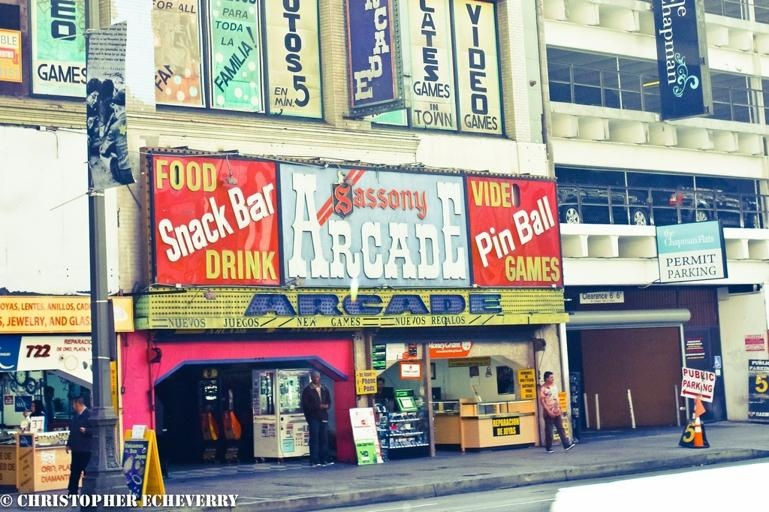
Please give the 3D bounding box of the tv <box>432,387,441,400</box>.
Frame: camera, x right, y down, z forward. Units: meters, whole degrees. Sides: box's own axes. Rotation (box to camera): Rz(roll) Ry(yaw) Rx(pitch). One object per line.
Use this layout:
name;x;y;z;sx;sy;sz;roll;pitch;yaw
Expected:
tv;1.730;4.384;37.586;0.353;0.366;0.089;3;-15;-11

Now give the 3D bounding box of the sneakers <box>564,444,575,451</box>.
sneakers;5.303;5.476;33.861;0.165;0.189;0.476;-3;-16;-19

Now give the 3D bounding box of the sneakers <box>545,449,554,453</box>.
sneakers;4.725;5.523;33.461;0.236;0.155;0.081;-3;2;-20

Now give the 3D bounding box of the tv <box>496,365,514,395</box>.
tv;3.793;3.854;36.705;0.162;0.886;0.663;1;-5;-40

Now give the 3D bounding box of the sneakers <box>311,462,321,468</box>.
sneakers;-1.814;5.685;32.135;0.245;0.102;0.083;-3;-3;12

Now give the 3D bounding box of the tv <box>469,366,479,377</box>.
tv;2.862;3.648;37.385;0.345;0.314;0.080;6;1;32

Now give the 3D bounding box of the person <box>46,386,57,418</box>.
person;-9.765;4.269;34.692;0.304;1.012;0.681;-1;-4;-15

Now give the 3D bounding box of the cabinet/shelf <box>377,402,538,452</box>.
cabinet/shelf;3.019;4.928;34.808;3.015;1.482;1.285;-2;-4;2

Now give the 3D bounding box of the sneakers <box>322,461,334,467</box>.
sneakers;-1.484;5.670;32.253;0.135;0.103;0.345;2;1;32

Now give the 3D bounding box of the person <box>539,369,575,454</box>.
person;4.955;4.460;34.061;0.866;2.234;1.438;-3;-4;7

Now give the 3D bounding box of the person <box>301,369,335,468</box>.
person;-1.789;4.422;32.182;0.725;2.518;0.613;-2;-4;-3
